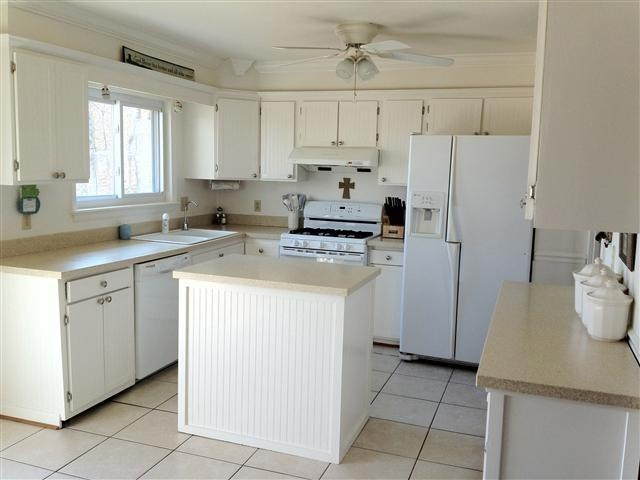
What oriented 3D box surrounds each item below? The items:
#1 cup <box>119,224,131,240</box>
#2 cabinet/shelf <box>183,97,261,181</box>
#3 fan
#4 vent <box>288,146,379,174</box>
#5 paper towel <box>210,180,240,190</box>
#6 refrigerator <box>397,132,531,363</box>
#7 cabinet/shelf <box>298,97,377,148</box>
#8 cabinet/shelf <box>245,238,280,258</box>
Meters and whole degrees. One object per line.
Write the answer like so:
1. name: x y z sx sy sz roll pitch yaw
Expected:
1. cup: -1.744 -0.071 4.411 0.128 0.133 0.125 2 13 0
2. cabinet/shelf: -1.032 -1.066 5.118 0.783 0.833 0.269 -2 14 -16
3. fan: 0.313 -1.433 3.696 0.906 0.349 0.885 3 9 22
4. vent: 0.128 -0.836 4.915 0.887 0.217 0.212 6 13 21
5. paper towel: -1.059 -0.611 5.485 0.337 0.112 0.149 -4 13 -24
6. refrigerator: 1.214 0.126 4.109 1.020 1.973 0.355 3 13 8
7. cabinet/shelf: 0.207 -1.196 4.928 0.601 0.315 0.205 1 2 15
8. cabinet/shelf: -0.601 0.080 5.041 0.308 0.267 0.199 1 1 12
